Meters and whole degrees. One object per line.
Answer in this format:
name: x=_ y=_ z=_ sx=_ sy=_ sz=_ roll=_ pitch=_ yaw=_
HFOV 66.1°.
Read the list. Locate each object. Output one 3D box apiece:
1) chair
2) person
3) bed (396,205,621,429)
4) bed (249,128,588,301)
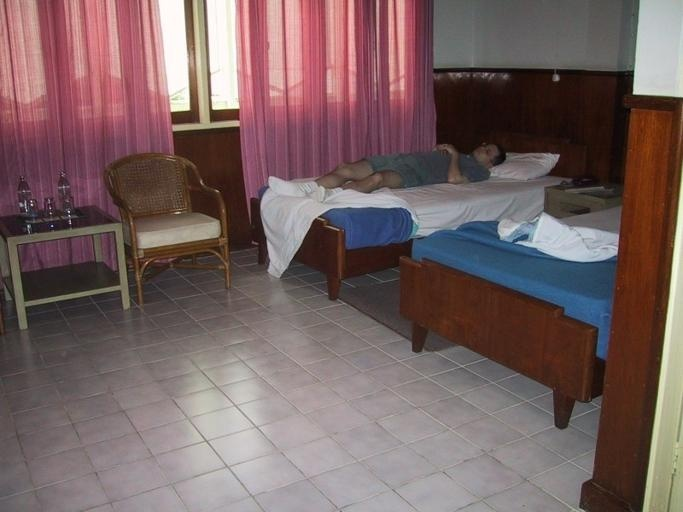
chair: x=-1.561 y=-0.314 z=4.697 sx=0.982 sy=1.092 sz=0.993 roll=-5 pitch=18 yaw=-16
person: x=0.414 y=-0.828 z=5.317 sx=1.427 sy=0.316 sz=0.453 roll=-20 pitch=9 yaw=-15
bed: x=1.016 y=0.231 z=2.933 sx=0.889 sy=0.469 sz=1.613 roll=15 pitch=29 yaw=32
bed: x=0.845 y=-0.522 z=5.159 sx=2.896 sy=1.067 sz=1.692 roll=-13 pitch=24 yaw=-28
